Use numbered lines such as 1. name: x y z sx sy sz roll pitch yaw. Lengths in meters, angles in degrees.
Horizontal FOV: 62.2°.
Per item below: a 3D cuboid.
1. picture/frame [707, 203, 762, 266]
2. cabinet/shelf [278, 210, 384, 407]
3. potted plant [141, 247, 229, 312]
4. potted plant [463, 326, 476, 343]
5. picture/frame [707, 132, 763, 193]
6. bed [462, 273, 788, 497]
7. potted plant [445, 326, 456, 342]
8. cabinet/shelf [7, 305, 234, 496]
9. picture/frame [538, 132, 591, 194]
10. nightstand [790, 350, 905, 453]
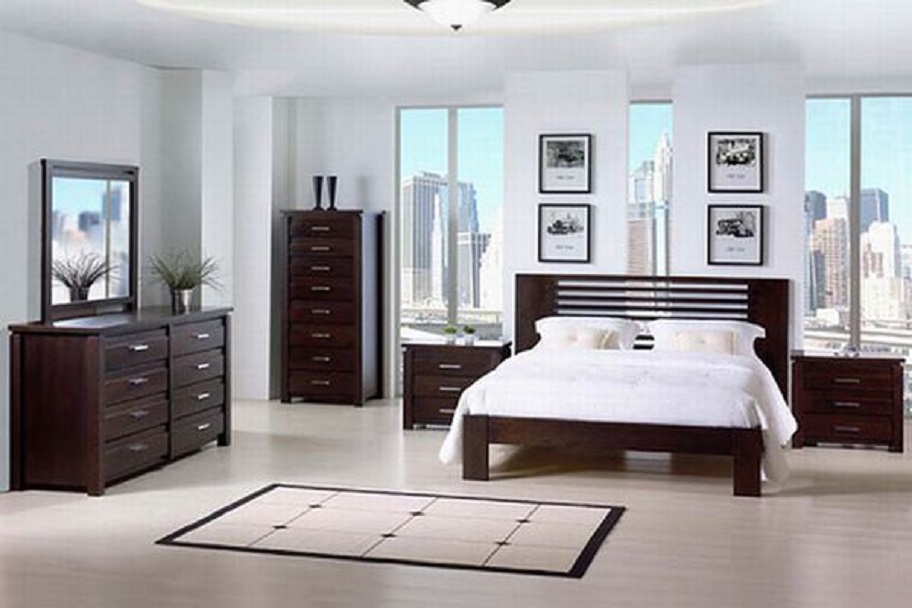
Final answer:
1. picture/frame: 2.428 -0.614 6.531 0.606 0.652 0.031 0 1 12
2. cabinet/shelf: -1.256 0.013 7.697 0.938 1.924 0.626 1 9 8
3. potted plant: -2.336 -0.210 6.449 0.596 0.341 0.560 1 2 2
4. potted plant: 0.131 0.278 6.842 0.136 0.157 0.137 -1 0 11
5. picture/frame: 2.431 -1.233 6.520 0.596 0.646 0.046 -1 4 10
6. bed: 1.385 0.468 5.941 2.367 1.246 2.218 4 10 24
7. potted plant: -0.027 0.267 6.893 0.126 0.142 0.133 0 3 8
8. cabinet/shelf: -2.388 0.682 5.251 0.518 0.747 1.313 1 2 16
9. picture/frame: 0.993 -1.268 6.753 0.626 0.596 0.026 0 -2 7
10. nightstand: 3.210 0.770 6.409 1.165 0.985 0.726 -1 -2 14
